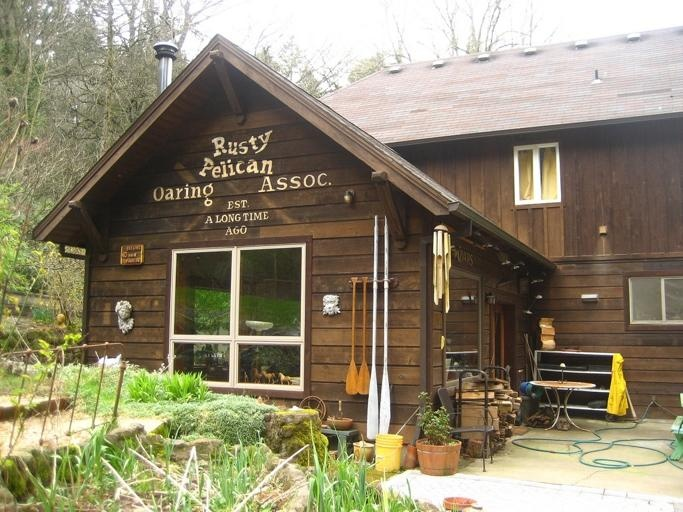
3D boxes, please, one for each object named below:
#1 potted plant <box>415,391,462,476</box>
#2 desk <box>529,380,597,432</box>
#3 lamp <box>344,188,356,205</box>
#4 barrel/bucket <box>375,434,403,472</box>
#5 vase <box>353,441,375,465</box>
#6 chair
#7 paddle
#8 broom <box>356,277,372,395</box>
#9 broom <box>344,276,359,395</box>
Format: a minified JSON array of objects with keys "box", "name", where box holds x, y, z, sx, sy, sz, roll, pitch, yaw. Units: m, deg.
[{"box":[1.335,2.494,8.255,0.692,1.027,0.617,4,-10,-2],"name":"potted plant"},{"box":[4.473,2.990,12.227,1.480,1.284,1.382,0,-6,42],"name":"desk"},{"box":[0.121,-0.940,9.327,0.179,0.227,0.181,1,-12,-4],"name":"lamp"},{"box":[0.666,2.772,8.278,0.386,0.510,0.357,0,-12,0],"name":"barrel/bucket"},{"box":[0.326,2.847,8.546,0.310,0.303,0.590,0,-12,1],"name":"vase"},{"box":[1.947,2.497,8.959,0.779,1.324,0.767,-6,-11,37],"name":"chair"},{"box":[0.518,1.264,8.738,0.547,3.701,0.499,-1,-5,30],"name":"paddle"},{"box":[0.367,1.273,8.997,0.213,1.623,0.222,1,-4,17],"name":"broom"},{"box":[0.196,1.214,9.046,0.198,1.749,0.204,1,-4,17],"name":"broom"}]
